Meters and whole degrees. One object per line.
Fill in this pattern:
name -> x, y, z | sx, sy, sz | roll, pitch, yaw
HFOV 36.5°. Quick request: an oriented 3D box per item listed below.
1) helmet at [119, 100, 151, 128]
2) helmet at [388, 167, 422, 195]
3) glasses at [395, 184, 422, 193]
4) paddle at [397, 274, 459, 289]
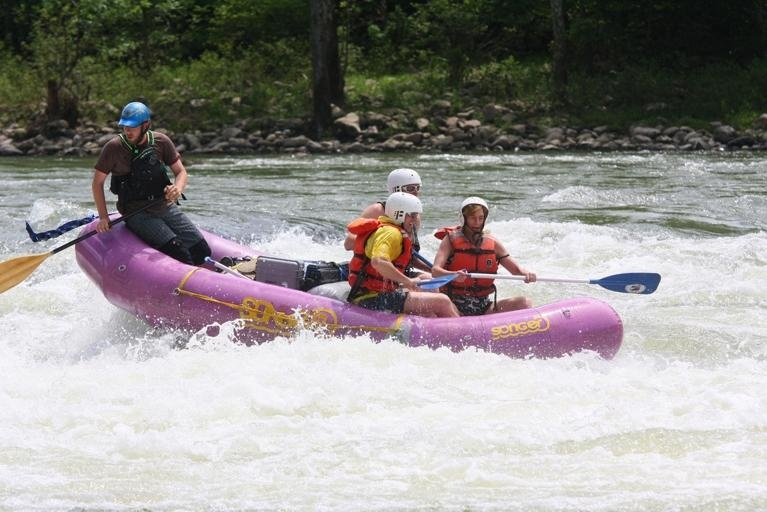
helmet -> -3.887, -2.290, 18.714 | 0.420, 0.263, 0.537 | 14, 16, 25
helmet -> 0.313, -1.219, 18.941 | 0.567, 0.340, 0.375 | 2, 6, 27
glasses -> 0.382, -1.079, 18.776 | 0.299, 0.075, 0.201 | -3, -1, 18
paddle -> 0.683, 0.425, 18.057 | 0.917, 0.106, 0.223 | -3, 4, -15
